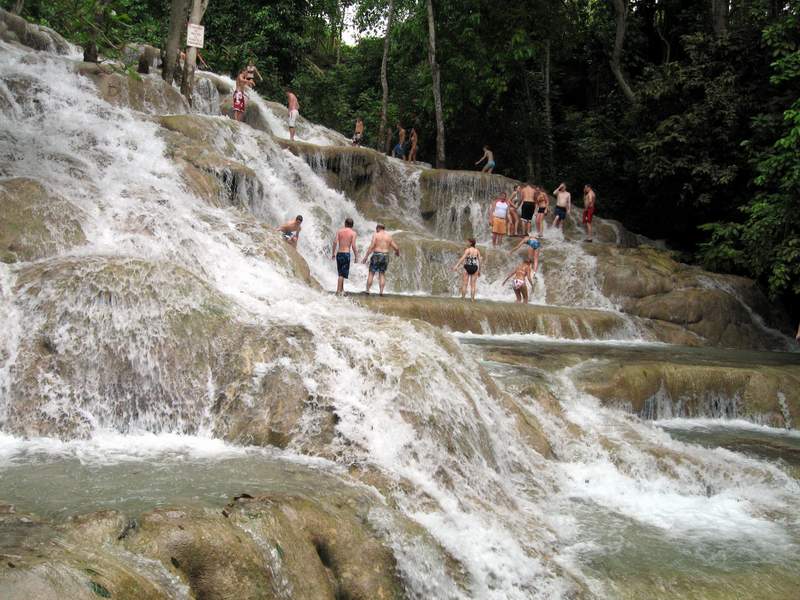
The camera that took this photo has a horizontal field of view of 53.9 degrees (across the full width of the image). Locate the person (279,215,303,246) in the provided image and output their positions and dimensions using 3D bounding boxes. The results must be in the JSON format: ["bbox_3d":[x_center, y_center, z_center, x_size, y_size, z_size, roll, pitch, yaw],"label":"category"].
[{"bbox_3d":[-2.476,-1.567,17.562,0.426,0.670,1.032,4,5,-9],"label":"person"}]

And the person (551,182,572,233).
[{"bbox_3d":[5.293,-3.096,25.955,0.518,1.461,2.388,5,5,11],"label":"person"}]

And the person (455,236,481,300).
[{"bbox_3d":[1.712,-0.790,19.754,0.503,1.627,0.385,2,26,-4],"label":"person"}]

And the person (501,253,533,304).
[{"bbox_3d":[3.167,-0.556,21.033,0.671,1.159,2.158,5,5,10],"label":"person"}]

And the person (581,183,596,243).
[{"bbox_3d":[6.301,-2.899,26.359,0.379,1.793,3.012,5,5,14],"label":"person"}]

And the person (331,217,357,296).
[{"bbox_3d":[-1.270,-0.977,17.567,0.511,1.684,2.410,4,5,-5],"label":"person"}]
